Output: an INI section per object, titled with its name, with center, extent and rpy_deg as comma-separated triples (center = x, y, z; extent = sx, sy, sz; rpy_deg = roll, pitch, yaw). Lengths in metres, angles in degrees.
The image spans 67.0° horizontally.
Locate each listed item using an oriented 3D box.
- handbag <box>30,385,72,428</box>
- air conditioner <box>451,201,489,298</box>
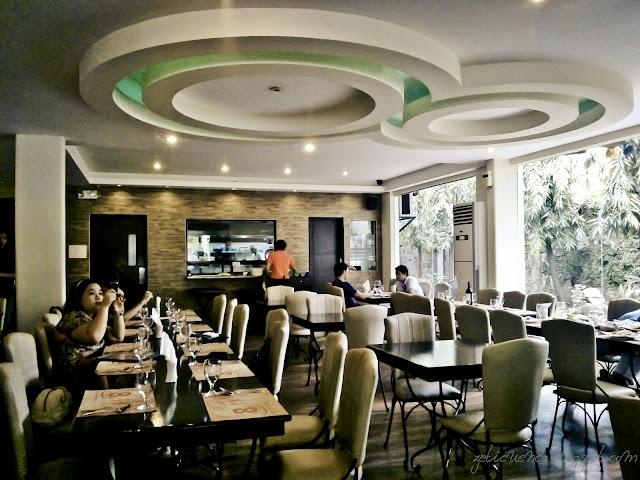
[handbag]
center = -1.800, 1.118, 3.232
extent = 0.200, 0.104, 0.260
rpy_deg = -8, -10, -14
[air conditioner]
center = 2.623, 0.319, 9.014
extent = 0.559, 1.803, 0.194
rpy_deg = -3, 1, -18
